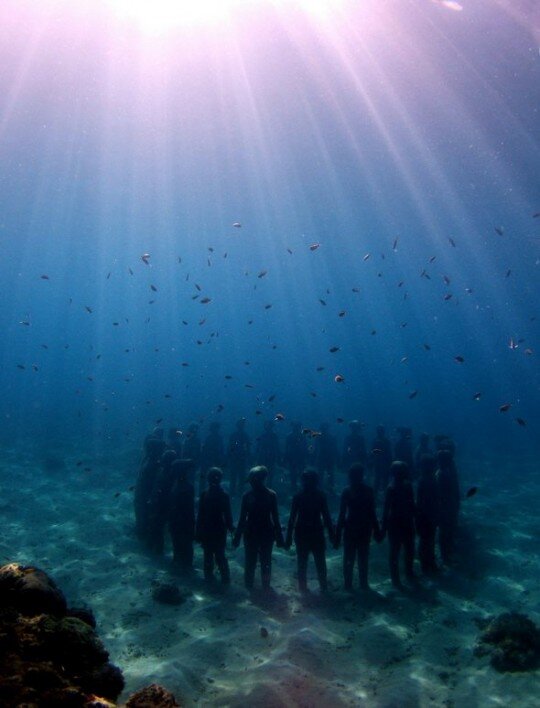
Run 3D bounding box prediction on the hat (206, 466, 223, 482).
[{"bbox_3d":[-0.897,1.984,10.157,0.261,0.372,0.348,1,-6,-1],"label":"hat"}]
